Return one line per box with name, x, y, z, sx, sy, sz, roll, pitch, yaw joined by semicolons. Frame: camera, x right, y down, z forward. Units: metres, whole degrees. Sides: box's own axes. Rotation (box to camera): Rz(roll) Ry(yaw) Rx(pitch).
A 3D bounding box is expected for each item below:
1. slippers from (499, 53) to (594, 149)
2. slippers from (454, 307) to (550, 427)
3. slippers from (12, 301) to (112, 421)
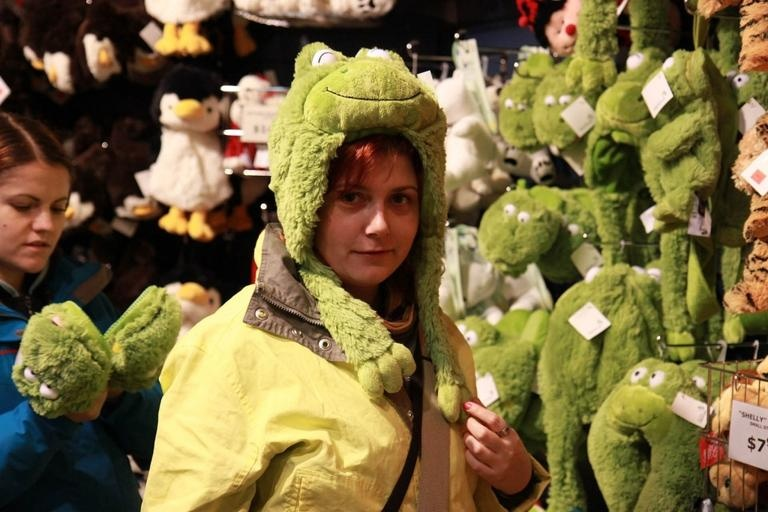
slippers;0.496;-0.492;2.179;0.239;0.309;0.123;6;-3;38
slippers;0.402;0.336;2.231;0.357;0.368;0.138;-23;-29;24
slippers;-0.719;0.226;1.514;0.192;0.252;0.117;17;-37;-3
